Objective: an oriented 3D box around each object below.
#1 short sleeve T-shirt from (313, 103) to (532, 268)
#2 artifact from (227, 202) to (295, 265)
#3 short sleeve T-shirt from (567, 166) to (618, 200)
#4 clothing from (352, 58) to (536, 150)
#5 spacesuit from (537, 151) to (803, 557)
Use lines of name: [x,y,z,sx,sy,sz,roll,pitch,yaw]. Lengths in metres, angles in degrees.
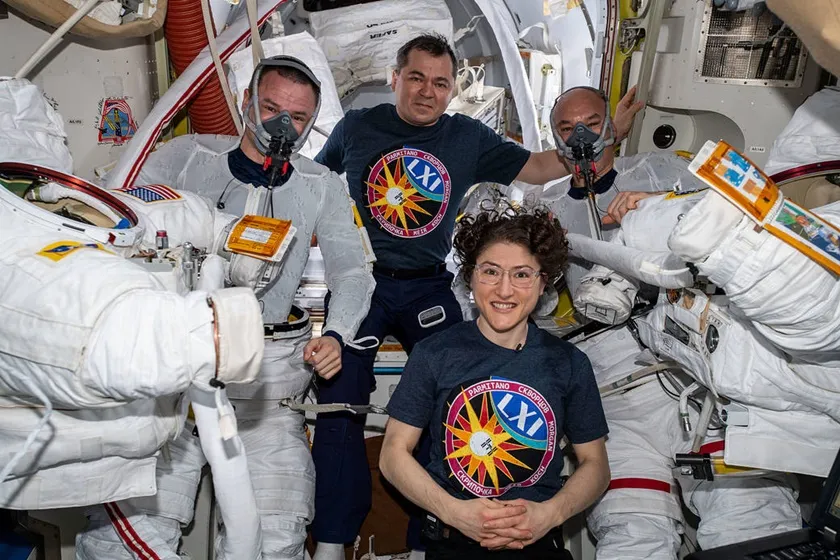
short sleeve T-shirt: [-0.045,-0.558,3.458,1.252,0.717,0.367,7,-5,-4]
artifact: [-0.670,-0.175,2.470,0.213,0.209,0.052,15,-32,6]
short sleeve T-shirt: [1.071,-0.609,3.683,0.194,0.212,0.278,-32,-28,27]
clothing: [0.049,-1.855,6.208,2.330,0.952,2.219,4,14,8]
spacesuit: [1.218,0.578,3.146,1.164,2.335,0.754,-6,7,22]
